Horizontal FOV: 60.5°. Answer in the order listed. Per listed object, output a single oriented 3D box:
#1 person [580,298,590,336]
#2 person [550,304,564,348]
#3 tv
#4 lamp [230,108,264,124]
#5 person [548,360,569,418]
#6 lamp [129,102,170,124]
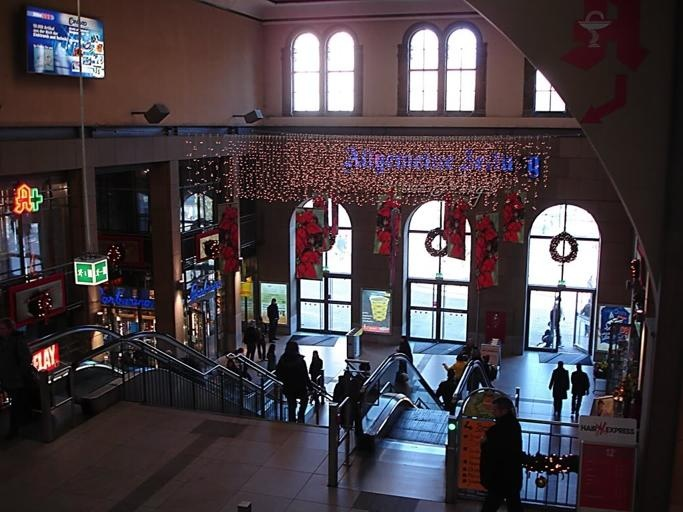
[{"bbox_3d":[9.119,2.285,21.874,0.348,1.275,0.094,3,4,26],"label":"person"},{"bbox_3d":[8.087,2.599,22.120,0.470,1.722,0.183,2,4,11],"label":"person"},{"bbox_3d":[-7.106,-5.473,15.152,0.363,1.813,2.341,3,5,22],"label":"tv"},{"bbox_3d":[-3.532,-5.162,21.661,1.235,0.651,0.703,5,10,9],"label":"lamp"},{"bbox_3d":[6.122,3.770,16.575,0.477,1.922,1.287,3,4,22],"label":"person"},{"bbox_3d":[-5.614,-4.088,17.135,1.195,0.671,0.653,8,17,5],"label":"lamp"}]
